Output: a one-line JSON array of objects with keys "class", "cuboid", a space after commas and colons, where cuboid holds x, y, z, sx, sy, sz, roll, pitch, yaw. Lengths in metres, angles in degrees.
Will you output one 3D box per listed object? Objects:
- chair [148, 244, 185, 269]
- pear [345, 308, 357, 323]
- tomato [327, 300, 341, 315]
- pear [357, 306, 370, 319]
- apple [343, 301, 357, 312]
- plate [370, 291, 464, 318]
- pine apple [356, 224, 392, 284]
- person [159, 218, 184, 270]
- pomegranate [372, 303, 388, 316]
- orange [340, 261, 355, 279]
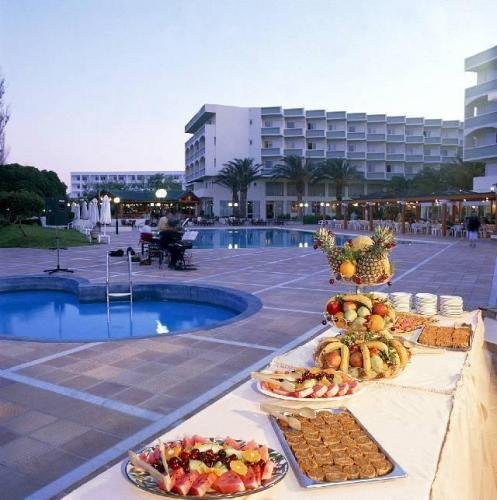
[{"class": "chair", "cuboid": [-2.510, 0.097, 12.951, 0.919, 0.613, 1.337, -5, 9, -35]}, {"class": "pear", "cuboid": [0.632, 0.406, 2.524, 0.071, 0.063, 0.064, 2, 1, -18]}, {"class": "tomato", "cuboid": [0.540, 0.372, 2.601, 0.085, 0.092, 0.080, 1, -5, -1]}, {"class": "pear", "cuboid": [0.714, 0.385, 2.535, 0.068, 0.061, 0.061, -6, 1, -5]}, {"class": "apple", "cuboid": [0.640, 0.354, 2.571, 0.064, 0.055, 0.059, -7, -11, -17]}, {"class": "plate", "cuboid": [1.635, 0.520, 3.920, 0.810, 0.150, 0.236, 1, 2, 20]}, {"class": "pine apple", "cuboid": [0.845, -0.003, 2.759, 0.191, 0.410, 0.210, 10, 14, 33]}, {"class": "person", "cuboid": [-2.387, -0.362, 12.914, 0.916, 1.542, 0.729, 0, 1, 7]}, {"class": "pomegranate", "cuboid": [0.824, 0.370, 2.553, 0.085, 0.075, 0.081, -6, -33, 5]}, {"class": "orange", "cuboid": [0.665, 0.127, 2.735, 0.117, 0.127, 0.110, 1, -1, 14]}]
